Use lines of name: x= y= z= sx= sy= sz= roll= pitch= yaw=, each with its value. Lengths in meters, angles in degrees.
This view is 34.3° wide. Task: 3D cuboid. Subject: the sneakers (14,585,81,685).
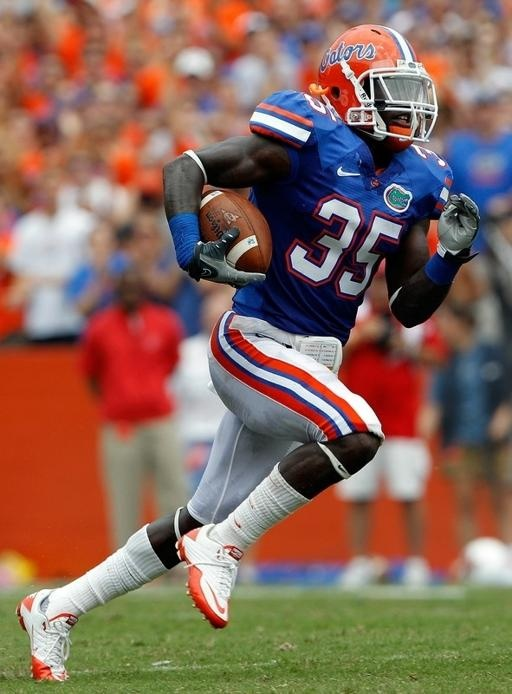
sneakers: x=-0.599 y=0.824 z=2.397 sx=0.160 sy=0.109 sz=0.320 roll=-40 pitch=51 yaw=11

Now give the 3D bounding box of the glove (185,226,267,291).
glove: x=-0.086 y=-0.213 z=2.124 sx=0.201 sy=0.075 sz=0.123 roll=17 pitch=83 yaw=9
